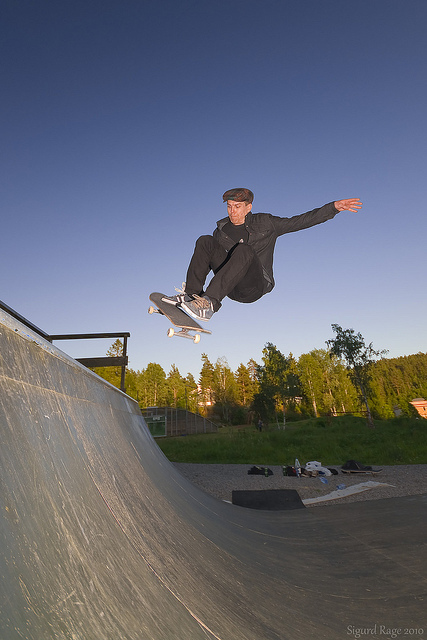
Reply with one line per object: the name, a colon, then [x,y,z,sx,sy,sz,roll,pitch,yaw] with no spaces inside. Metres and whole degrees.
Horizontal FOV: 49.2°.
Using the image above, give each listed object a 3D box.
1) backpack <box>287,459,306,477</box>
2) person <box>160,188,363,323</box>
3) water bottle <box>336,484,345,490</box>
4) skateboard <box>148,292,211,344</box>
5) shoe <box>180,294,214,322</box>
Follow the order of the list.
backpack: [1.869,3.520,10.747,0.231,0.390,0.680,-1,-44,-8]
person: [0.233,-0.566,4.166,1.002,0.946,0.636,-4,-35,39]
water bottle: [2.372,3.194,8.863,0.129,0.067,0.180,4,-3,18]
skateboard: [-0.282,-0.004,3.974,0.549,0.394,0.356,9,-13,-14]
shoe: [-0.141,-0.107,3.936,0.263,0.244,0.169,5,-12,6]
